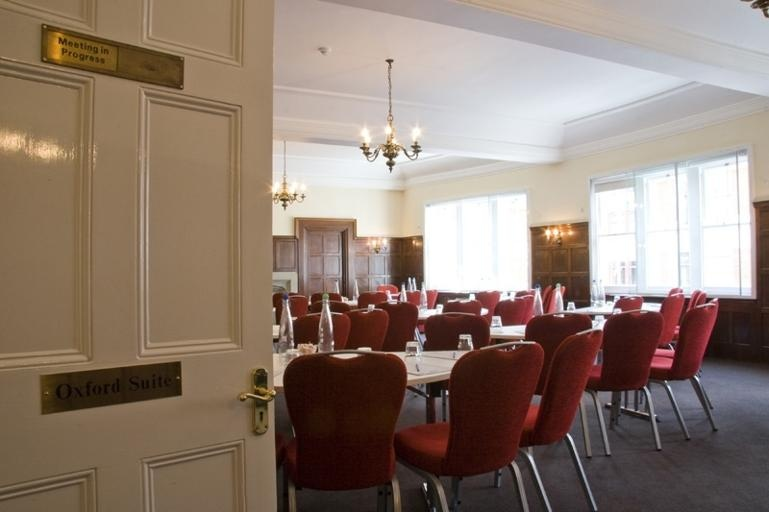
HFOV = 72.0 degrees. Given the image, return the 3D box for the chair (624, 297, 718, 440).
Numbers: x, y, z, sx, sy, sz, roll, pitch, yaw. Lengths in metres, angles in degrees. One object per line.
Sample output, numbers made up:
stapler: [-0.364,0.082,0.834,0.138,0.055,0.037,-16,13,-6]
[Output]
chair: [2.475,0.940,4.701,0.654,1.153,0.699,-1,6,-31]

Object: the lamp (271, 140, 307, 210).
lamp: [-1.985,-1.659,10.563,0.604,1.358,0.556,0,7,9]

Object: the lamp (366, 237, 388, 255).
lamp: [-0.161,-0.260,13.823,0.634,0.457,0.174,-3,5,-33]

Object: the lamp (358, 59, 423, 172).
lamp: [0.071,-1.885,7.076,0.758,1.564,0.706,4,-11,-31]

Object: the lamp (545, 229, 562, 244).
lamp: [3.356,-0.402,10.577,0.063,0.294,0.390,-3,5,-33]
